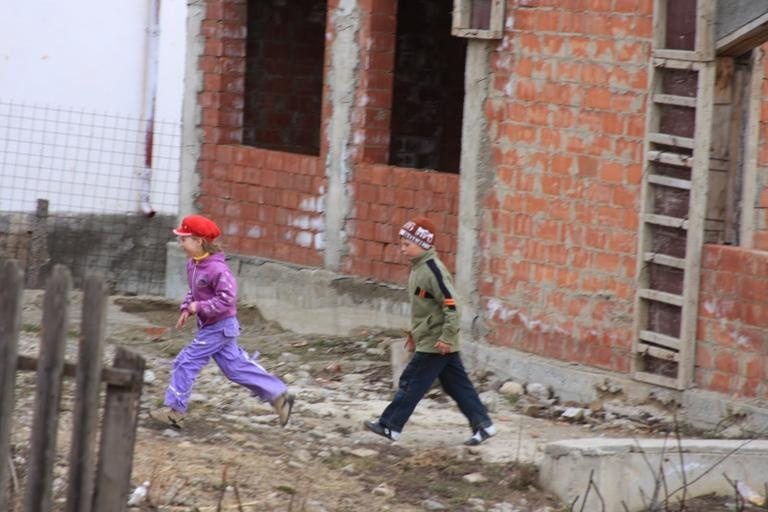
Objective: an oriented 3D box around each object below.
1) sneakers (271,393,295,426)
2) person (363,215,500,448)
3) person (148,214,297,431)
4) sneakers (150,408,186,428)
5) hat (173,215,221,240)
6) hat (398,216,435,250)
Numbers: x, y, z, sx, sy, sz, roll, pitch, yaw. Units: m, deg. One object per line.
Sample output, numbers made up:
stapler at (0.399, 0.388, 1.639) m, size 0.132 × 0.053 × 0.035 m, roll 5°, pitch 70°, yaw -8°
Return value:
sneakers at (-0.934, 1.441, 15.797) m, size 0.165 × 0.345 × 0.169 m, roll 10°, pitch 18°, yaw 33°
person at (0.468, 0.714, 15.519) m, size 1.088 × 1.912 × 0.294 m, roll 6°, pitch 2°, yaw 1°
person at (-1.483, 0.650, 15.624) m, size 1.133 × 1.722 × 0.421 m, roll 5°, pitch 2°, yaw -18°
sneakers at (-2.031, 1.520, 15.555) m, size 0.347 × 0.172 × 0.155 m, roll 4°, pitch 1°, yaw 8°
hat at (-1.729, -0.256, 15.588) m, size 0.445 × 0.137 × 0.269 m, roll 9°, pitch 3°, yaw 3°
hat at (0.321, -0.202, 15.717) m, size 0.374 × 0.283 × 0.251 m, roll 33°, pitch 6°, yaw 3°
